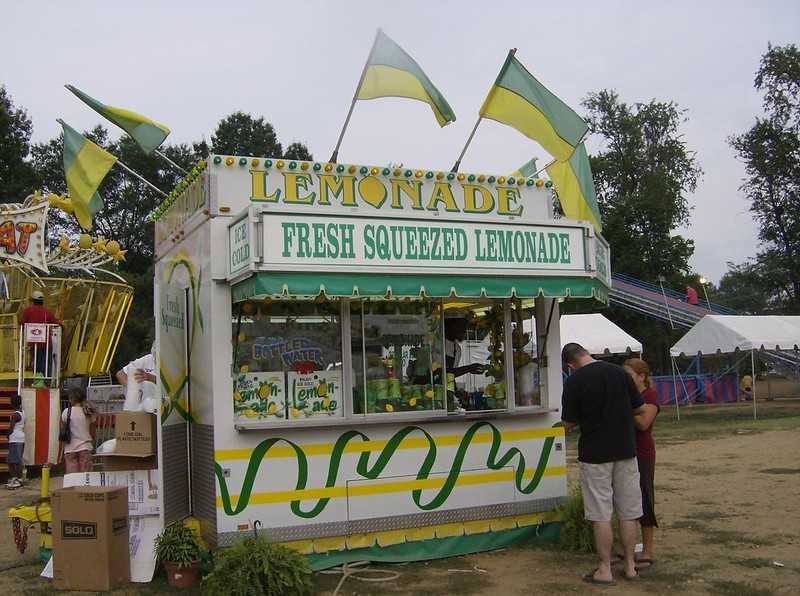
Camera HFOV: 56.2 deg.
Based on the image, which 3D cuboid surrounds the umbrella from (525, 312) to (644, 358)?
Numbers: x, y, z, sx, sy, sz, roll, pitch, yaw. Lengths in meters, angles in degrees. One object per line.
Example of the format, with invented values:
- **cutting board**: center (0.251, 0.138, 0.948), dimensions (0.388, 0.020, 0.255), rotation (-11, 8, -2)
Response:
- **umbrella**: center (5.064, 0.961, 19.980), dimensions (2.551, 1.365, 2.923), rotation (-1, 2, 4)

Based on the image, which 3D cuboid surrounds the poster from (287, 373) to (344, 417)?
- **poster**: center (-1.056, 1.186, 9.128), dimensions (0.457, 0.445, 0.038), rotation (-2, -4, -15)

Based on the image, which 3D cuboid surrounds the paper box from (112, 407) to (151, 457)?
- **paper box**: center (-3.137, 1.587, 8.912), dimensions (0.450, 0.523, 0.487), rotation (2, -7, -4)

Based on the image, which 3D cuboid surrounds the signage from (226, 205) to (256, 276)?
- **signage**: center (-1.801, -0.625, 8.553), dimensions (0.061, 0.725, 0.655), rotation (5, -13, -22)

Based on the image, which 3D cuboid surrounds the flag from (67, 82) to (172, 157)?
- **flag**: center (-3.936, -2.515, 10.837), dimensions (0.967, 0.881, 0.880), rotation (3, -8, -35)

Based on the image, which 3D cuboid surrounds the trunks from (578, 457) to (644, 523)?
- **trunks**: center (2.304, 2.057, 8.155), dimensions (0.593, 0.942, 0.347), rotation (-3, -13, 3)

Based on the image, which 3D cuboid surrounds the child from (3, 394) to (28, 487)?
- **child**: center (-7.177, 2.672, 14.079), dimensions (0.291, 1.751, 0.511), rotation (2, -8, -28)

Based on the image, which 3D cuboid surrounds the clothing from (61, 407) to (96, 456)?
- **clothing**: center (-5.278, 2.148, 12.333), dimensions (0.468, 0.748, 0.311), rotation (3, -8, -34)

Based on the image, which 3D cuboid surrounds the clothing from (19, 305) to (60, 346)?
- **clothing**: center (-7.011, 0.518, 14.587), dimensions (0.623, 0.566, 0.362), rotation (-1, -4, -38)
